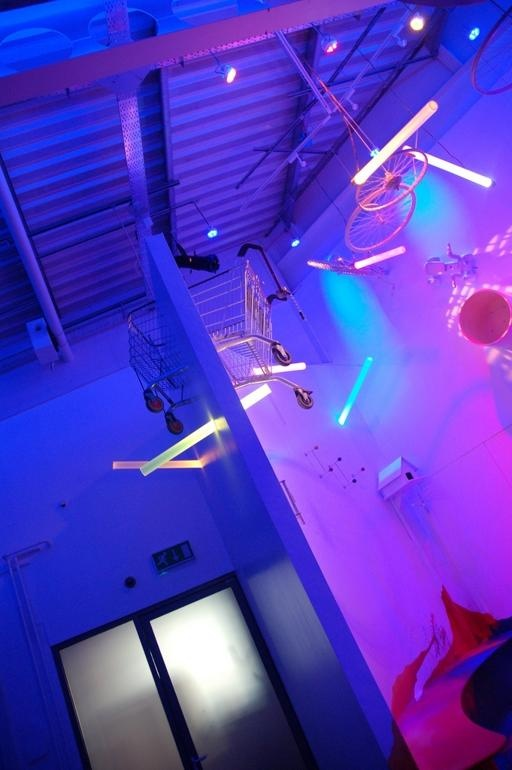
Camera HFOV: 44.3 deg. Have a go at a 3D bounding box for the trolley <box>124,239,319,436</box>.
[{"bbox_3d":[-0.316,-0.426,5.067,1.403,1.352,0.908,-19,-23,13],"label":"trolley"}]
